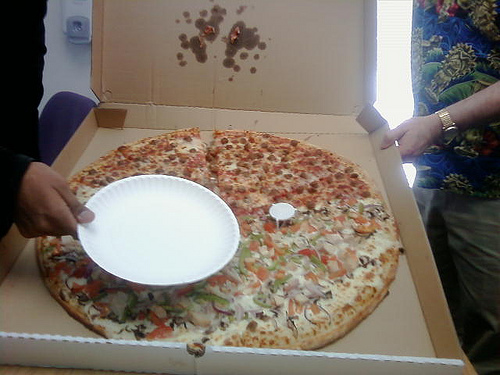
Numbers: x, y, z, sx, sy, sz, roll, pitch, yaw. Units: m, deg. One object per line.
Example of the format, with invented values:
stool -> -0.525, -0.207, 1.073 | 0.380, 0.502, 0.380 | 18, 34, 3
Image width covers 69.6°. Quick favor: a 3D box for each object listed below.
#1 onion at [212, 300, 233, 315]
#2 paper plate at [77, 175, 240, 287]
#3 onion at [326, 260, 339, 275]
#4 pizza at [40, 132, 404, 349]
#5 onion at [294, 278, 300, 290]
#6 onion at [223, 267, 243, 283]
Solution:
onion -> -0.080, 0.361, 1.073 | 0.045, 0.011, 0.034 | 36, 22, 0
paper plate -> -0.268, 0.111, 1.083 | 0.450, 0.089, 0.396 | -10, 46, -18
onion -> 0.278, 0.267, 1.212 | 0.033, 0.031, 0.042 | -4, 59, -5
pizza -> -0.058, 0.090, 1.249 | 1.258, 0.239, 0.918 | -3, 44, -12
onion -> 0.151, 0.309, 1.158 | 0.021, 0.016, 0.022 | -1, 36, -3
onion -> -0.055, 0.277, 1.149 | 0.026, 0.015, 0.081 | -20, 45, -28
